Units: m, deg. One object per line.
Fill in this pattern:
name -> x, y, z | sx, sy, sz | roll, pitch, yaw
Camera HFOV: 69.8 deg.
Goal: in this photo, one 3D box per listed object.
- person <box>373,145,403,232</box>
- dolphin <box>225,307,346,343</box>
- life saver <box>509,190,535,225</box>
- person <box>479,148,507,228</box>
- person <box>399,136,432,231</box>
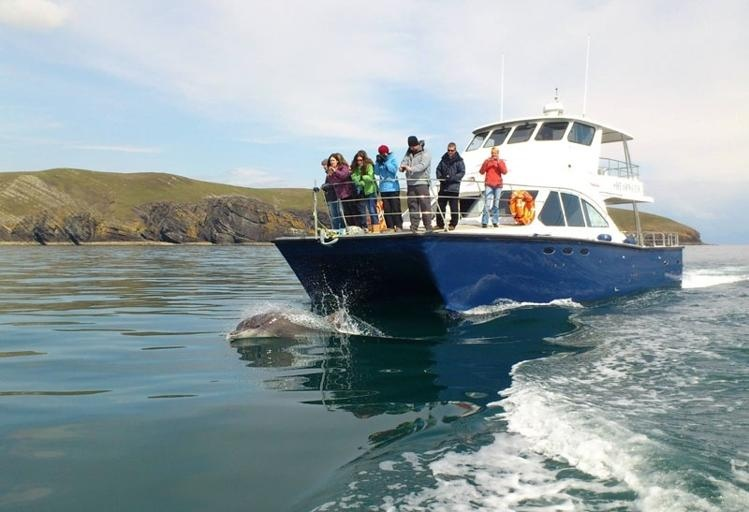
person -> 0.281, -1.405, 11.250 | 0.549, 1.747, 0.895 | -2, 2, 2
dolphin -> -1.544, 1.413, 10.806 | 2.749, 0.493, 0.573 | -2, -39, -10
life saver -> 3.291, -1.102, 12.004 | 0.387, 0.792, 0.595 | 0, 2, 40
person -> 2.624, -1.526, 11.918 | 0.839, 1.535, 0.759 | 1, 1, 11
person -> 0.863, -1.530, 11.261 | 0.635, 1.992, 1.022 | -2, 2, 3
